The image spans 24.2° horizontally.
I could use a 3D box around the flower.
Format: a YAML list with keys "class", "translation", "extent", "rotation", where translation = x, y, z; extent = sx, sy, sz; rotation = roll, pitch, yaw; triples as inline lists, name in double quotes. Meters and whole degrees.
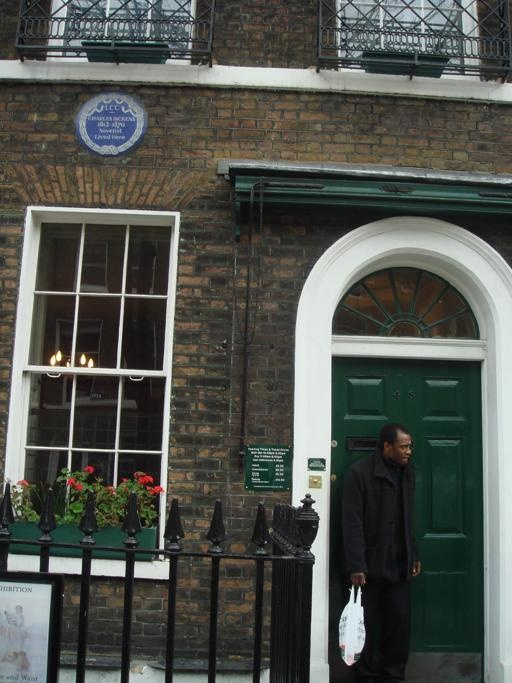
- class: "flower"
  translation: [-1.110, 1.009, 7.862]
  extent: [0.987, 0.413, 0.237]
  rotation: [1, -12, -5]

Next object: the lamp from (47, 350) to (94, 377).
- class: "lamp"
  translation: [-1.256, 0.171, 8.147]
  extent: [0.176, 0.122, 0.238]
  rotation: [6, -16, -3]

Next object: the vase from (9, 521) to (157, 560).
- class: "vase"
  translation: [-1.125, 1.285, 7.757]
  extent: [0.955, 0.252, 0.206]
  rotation: [0, -12, -3]
